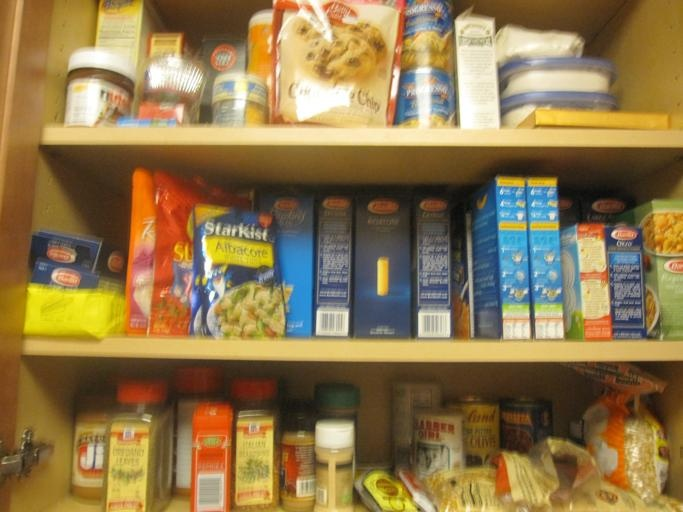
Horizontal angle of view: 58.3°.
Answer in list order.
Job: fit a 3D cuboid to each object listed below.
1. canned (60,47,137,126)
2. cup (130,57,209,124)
[{"bbox_3d":[-0.569,-0.394,1.544,0.189,0.189,0.186,1,-2,9],"label":"canned"},{"bbox_3d":[-0.400,-0.395,1.505,0.177,0.131,0.151,2,-14,-2],"label":"cup"}]
